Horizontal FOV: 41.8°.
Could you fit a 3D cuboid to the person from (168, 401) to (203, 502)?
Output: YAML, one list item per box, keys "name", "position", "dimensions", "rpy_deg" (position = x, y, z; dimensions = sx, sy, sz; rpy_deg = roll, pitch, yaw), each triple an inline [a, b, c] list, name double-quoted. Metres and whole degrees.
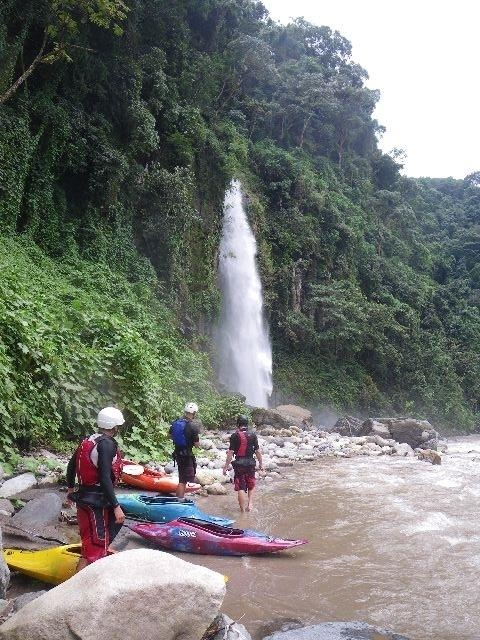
- name: "person"
  position: [-0.730, 1.736, 8.309]
  dimensions: [0.356, 1.280, 1.056]
  rpy_deg: [0, -6, -6]

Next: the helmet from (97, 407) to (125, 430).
- name: "helmet"
  position: [-1.071, 0.815, 5.288]
  dimensions: [0.155, 0.183, 0.198]
  rpy_deg: [6, -12, 37]

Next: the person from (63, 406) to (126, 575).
- name: "person"
  position: [-1.203, 1.385, 5.227]
  dimensions: [0.468, 1.292, 0.427]
  rpy_deg: [0, -6, -8]

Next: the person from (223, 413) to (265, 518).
- name: "person"
  position: [0.039, 2.031, 9.052]
  dimensions: [0.542, 1.309, 1.119]
  rpy_deg: [-1, -6, 2]

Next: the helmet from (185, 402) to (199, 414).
- name: "helmet"
  position: [-0.650, 1.170, 8.336]
  dimensions: [0.145, 0.138, 0.495]
  rpy_deg: [0, -7, -8]
